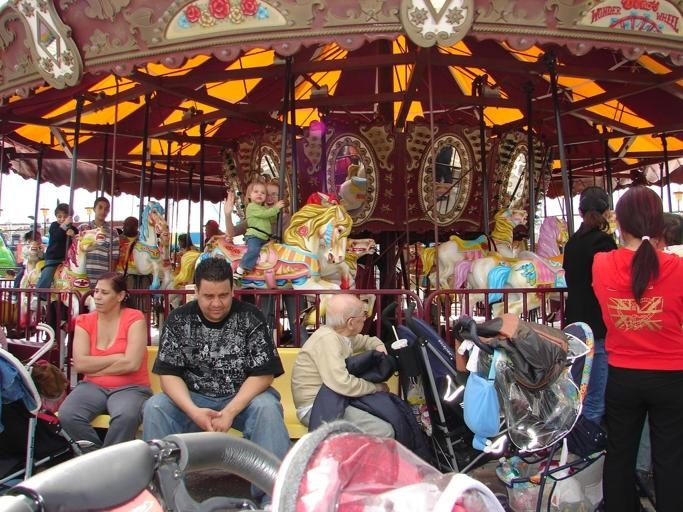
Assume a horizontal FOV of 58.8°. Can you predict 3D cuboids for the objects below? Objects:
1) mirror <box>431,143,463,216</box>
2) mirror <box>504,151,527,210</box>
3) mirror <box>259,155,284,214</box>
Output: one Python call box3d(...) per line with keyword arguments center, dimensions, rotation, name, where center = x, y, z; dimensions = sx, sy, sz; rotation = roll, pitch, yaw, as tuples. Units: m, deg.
box3d(center=(1.355, -1.028, 8.044), dimensions=(0.793, 1.085, 0.027), rotation=(5, -1, -30), name="mirror")
box3d(center=(2.593, -1.142, 8.934), dimensions=(0.147, 0.690, 0.524), rotation=(10, 6, 30), name="mirror")
box3d(center=(-0.947, -0.943, 7.768), dimensions=(0.184, 0.839, 0.551), rotation=(-1, 8, -43), name="mirror")
